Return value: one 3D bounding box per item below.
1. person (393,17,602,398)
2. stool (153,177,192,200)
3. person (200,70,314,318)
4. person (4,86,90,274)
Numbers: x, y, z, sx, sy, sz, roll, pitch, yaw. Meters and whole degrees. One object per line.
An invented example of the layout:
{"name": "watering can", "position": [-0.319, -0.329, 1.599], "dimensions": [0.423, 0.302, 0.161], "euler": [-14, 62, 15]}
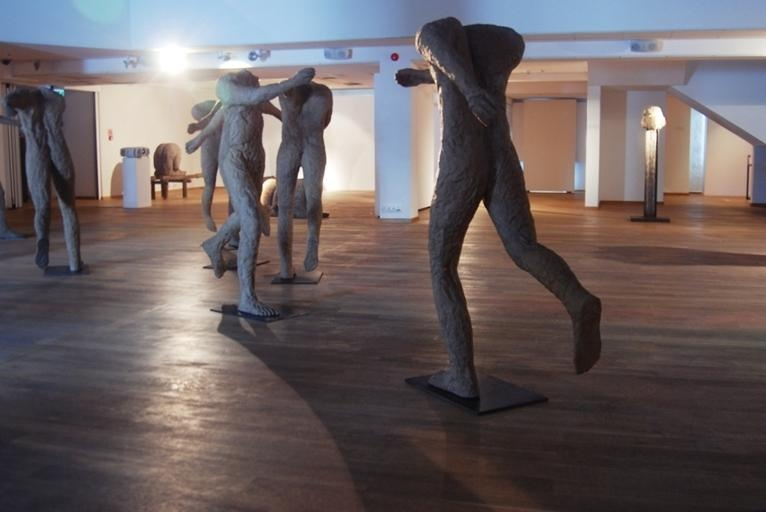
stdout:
{"name": "person", "position": [0.599, -0.243, 3.098], "dimensions": [1.138, 2.148, 0.541], "euler": [6, 14, 26]}
{"name": "stool", "position": [-6.535, -2.202, 16.866], "dimensions": [1.069, 0.652, 1.070], "euler": [-2, 4, -21]}
{"name": "person", "position": [-1.185, -0.579, 4.886], "dimensions": [0.774, 2.117, 1.321], "euler": [-7, 14, -26]}
{"name": "person", "position": [-3.921, -0.876, 6.355], "dimensions": [0.584, 2.124, 0.628], "euler": [-7, 14, -29]}
